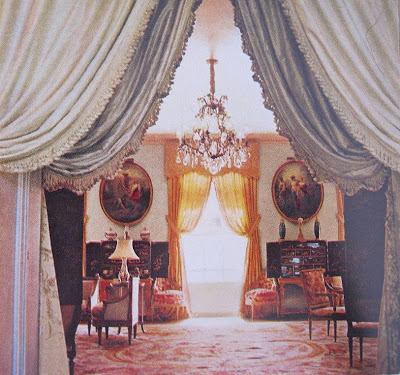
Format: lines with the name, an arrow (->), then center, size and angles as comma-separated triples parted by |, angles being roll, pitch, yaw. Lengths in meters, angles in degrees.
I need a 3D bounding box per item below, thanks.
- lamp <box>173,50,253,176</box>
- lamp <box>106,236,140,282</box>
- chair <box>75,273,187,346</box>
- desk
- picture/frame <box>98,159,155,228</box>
lamp -> 0.180, -1.226, 7.852 | 0.779, 1.558, 0.790 | -2, 4, -38
lamp -> -1.138, 1.061, 7.622 | 0.353, 0.651, 0.355 | -3, 5, -44
chair -> -0.932, 1.848, 7.811 | 1.352, 1.176, 0.960 | 3, -9, -17
desk -> 1.713, 1.873, 8.529 | 0.615, 0.609, 0.459 | -3, -12, -4
picture/frame -> -1.372, 0.206, 9.359 | 0.931, 1.587, 0.129 | -1, -12, -4
